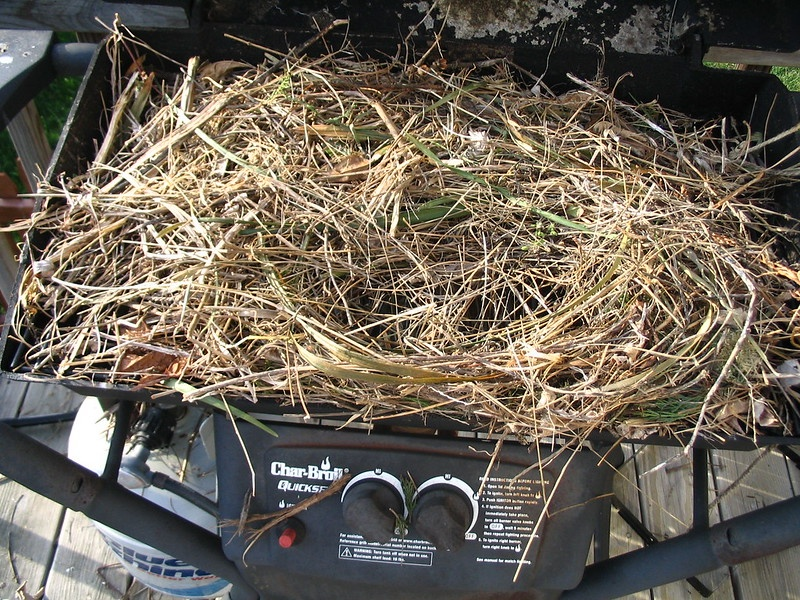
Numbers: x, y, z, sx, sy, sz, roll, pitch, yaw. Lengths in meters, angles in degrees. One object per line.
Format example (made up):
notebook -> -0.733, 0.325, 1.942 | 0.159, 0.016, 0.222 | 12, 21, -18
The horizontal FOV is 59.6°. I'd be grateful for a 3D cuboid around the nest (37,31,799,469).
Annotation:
nest -> 0.025, -0.122, 1.115 | 1.201, 0.504, 0.587 | 8, 25, 2
